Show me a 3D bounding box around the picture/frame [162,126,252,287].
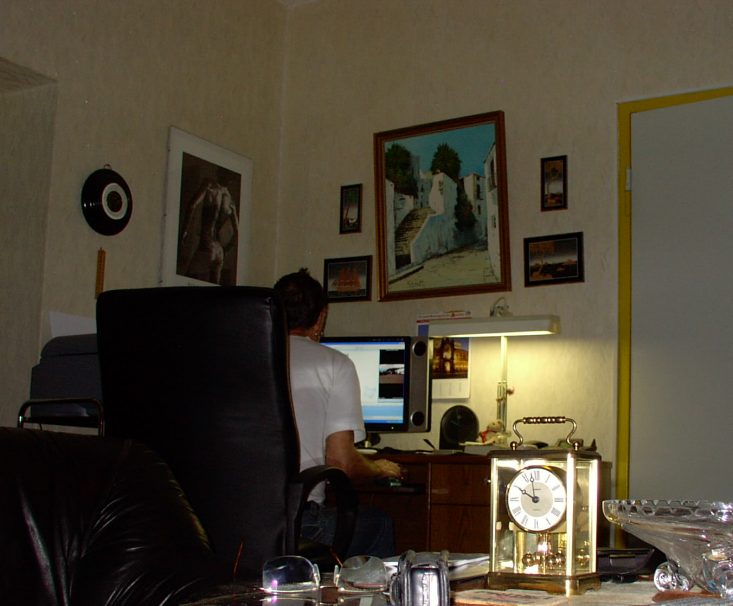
[{"bbox_3d":[-0.836,-0.490,3.951,0.044,0.978,0.781,-1,-9,28],"label":"picture/frame"}]

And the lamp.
[{"bbox_3d":[0.605,0.380,3.553,0.754,0.785,0.434,-1,-9,19],"label":"lamp"}]

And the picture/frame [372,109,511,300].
[{"bbox_3d":[0.404,-0.476,3.849,0.802,1.129,0.067,-4,-4,33],"label":"picture/frame"}]

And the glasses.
[{"bbox_3d":[-0.062,0.419,1.193,0.242,0.066,0.115,10,-12,-41],"label":"glasses"}]

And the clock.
[{"bbox_3d":[0.351,0.403,1.540,0.173,0.345,0.180,-4,-10,37],"label":"clock"}]

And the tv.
[{"bbox_3d":[0.008,0.342,3.046,0.395,0.504,0.046,-5,2,6],"label":"tv"}]

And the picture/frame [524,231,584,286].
[{"bbox_3d":[0.878,-0.202,3.547,0.213,0.218,0.018,-2,-7,31],"label":"picture/frame"}]
